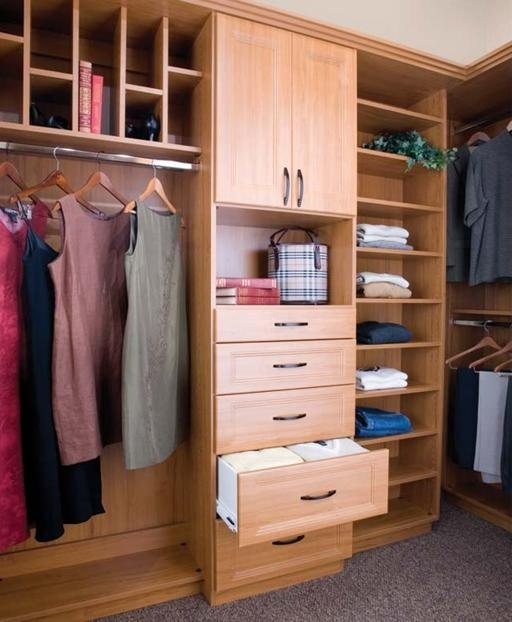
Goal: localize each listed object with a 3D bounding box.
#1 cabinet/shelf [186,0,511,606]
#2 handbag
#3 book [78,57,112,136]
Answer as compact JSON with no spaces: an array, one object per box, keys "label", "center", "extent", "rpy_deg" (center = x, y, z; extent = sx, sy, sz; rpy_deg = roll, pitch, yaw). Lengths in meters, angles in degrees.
[{"label":"cabinet/shelf","center":[0.364,-0.043,2.363],"extent":[1.322,2.241,0.956],"rpy_deg":[-2,12,-28]},{"label":"handbag","center":[0.184,-0.198,2.423],"extent":[0.256,0.375,0.220],"rpy_deg":[0,-6,-4]},{"label":"book","center":[-0.599,-0.774,2.023],"extent":[0.091,0.244,0.229],"rpy_deg":[1,11,-11]}]
